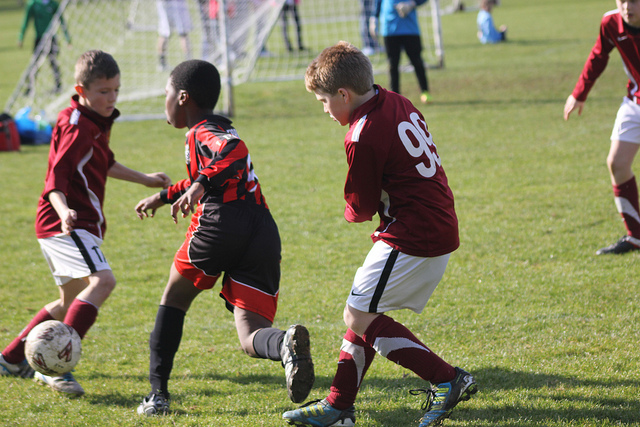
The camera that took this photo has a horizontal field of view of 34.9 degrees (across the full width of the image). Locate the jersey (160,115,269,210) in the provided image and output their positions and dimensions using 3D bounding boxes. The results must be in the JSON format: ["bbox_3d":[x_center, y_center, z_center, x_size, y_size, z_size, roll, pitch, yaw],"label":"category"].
[{"bbox_3d":[-1.088,-0.570,10.419,0.846,0.714,0.956,1,9,15],"label":"jersey"}]

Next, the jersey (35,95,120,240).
[{"bbox_3d":[-2.554,-0.463,10.845,0.754,1.559,1.359,5,11,9],"label":"jersey"}]

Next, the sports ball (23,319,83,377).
[{"bbox_3d":[-2.728,1.390,10.368,0.551,0.530,0.266,-6,18,-15],"label":"sports ball"}]
